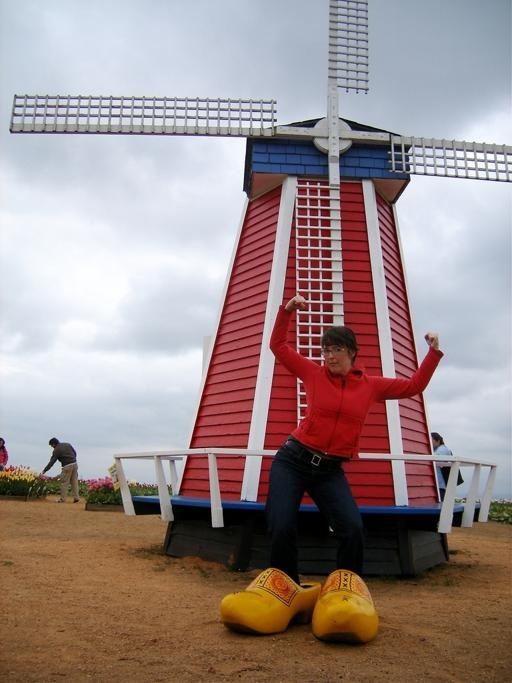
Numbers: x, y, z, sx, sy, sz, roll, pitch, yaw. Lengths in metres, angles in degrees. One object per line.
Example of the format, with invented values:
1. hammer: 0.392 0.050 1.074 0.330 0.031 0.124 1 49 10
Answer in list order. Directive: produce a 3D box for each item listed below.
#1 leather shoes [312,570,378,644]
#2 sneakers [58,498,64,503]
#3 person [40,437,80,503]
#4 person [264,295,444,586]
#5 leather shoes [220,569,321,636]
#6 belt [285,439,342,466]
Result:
1. leather shoes: 0.452 1.345 2.523 0.301 0.318 0.282 3 -5 22
2. sneakers: -5.070 4.067 12.815 0.115 0.133 0.357 11 -8 -25
3. person: -4.987 3.204 12.566 0.933 1.535 0.879 -2 -12 -27
4. person: 0.469 0.568 2.744 0.878 1.597 0.389 5 -5 0
5. leather shoes: 0.110 1.438 2.831 0.266 0.268 0.678 -16 -23 37
6. belt: 0.304 0.605 2.712 0.342 0.131 0.192 4 -4 9
